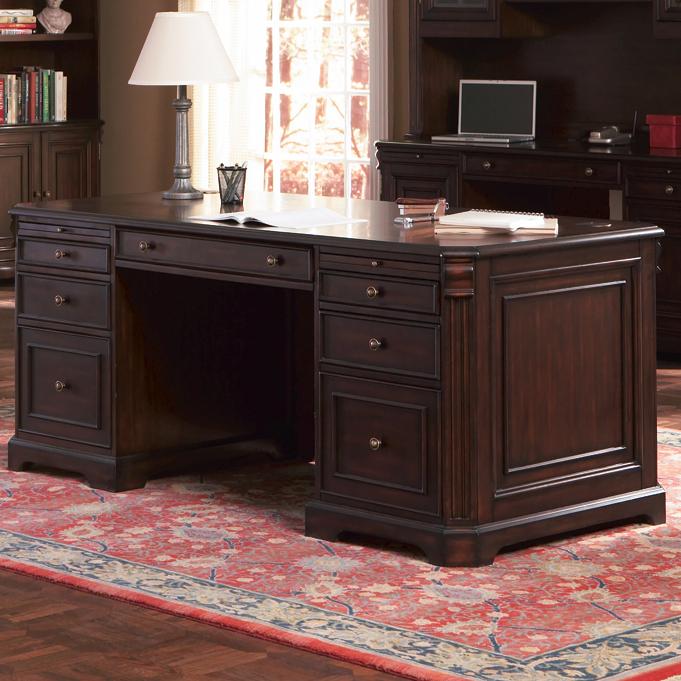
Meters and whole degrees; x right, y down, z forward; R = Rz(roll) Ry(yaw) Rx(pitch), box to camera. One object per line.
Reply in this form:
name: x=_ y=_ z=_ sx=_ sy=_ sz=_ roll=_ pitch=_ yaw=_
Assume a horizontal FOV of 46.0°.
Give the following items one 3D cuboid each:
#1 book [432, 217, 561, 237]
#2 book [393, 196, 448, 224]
book: x=0.417 y=-0.303 z=2.151 sx=0.328 sy=0.056 sz=0.237 roll=1 pitch=1 yaw=6
book: x=0.241 y=-0.375 z=2.385 sx=0.137 sy=0.039 sz=0.119 roll=-2 pitch=6 yaw=-21
